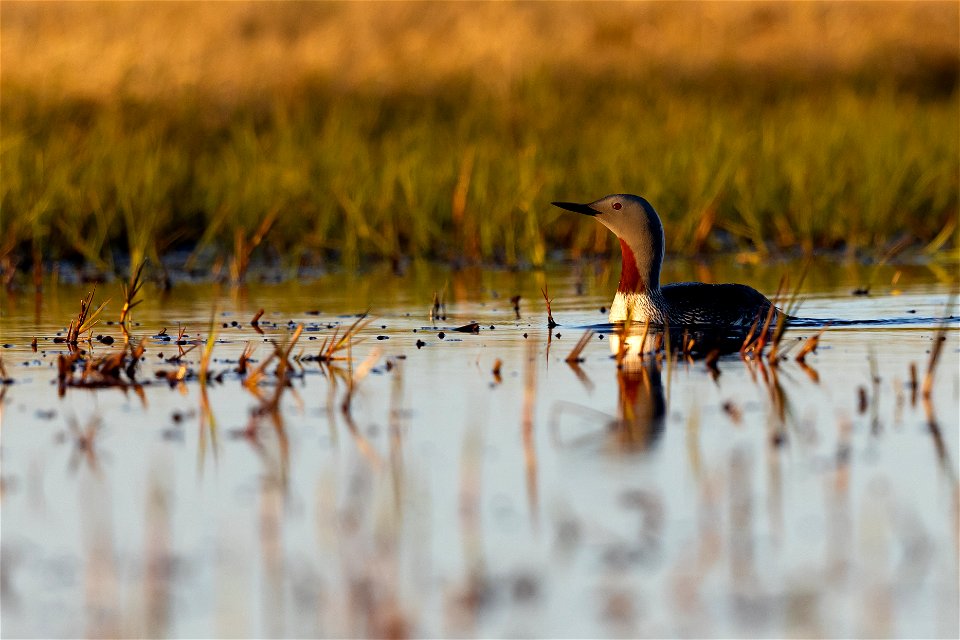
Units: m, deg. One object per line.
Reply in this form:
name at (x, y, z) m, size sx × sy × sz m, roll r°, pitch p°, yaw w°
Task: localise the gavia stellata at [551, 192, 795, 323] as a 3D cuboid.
gavia stellata at (1.448, -0.449, 14.466) m, size 1.986 × 1.436 × 0.843 m, roll 5°, pitch 0°, yaw 4°
